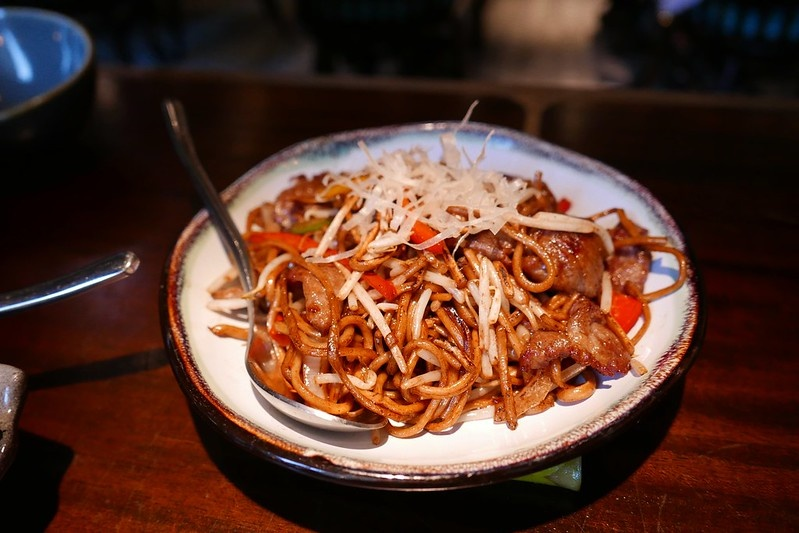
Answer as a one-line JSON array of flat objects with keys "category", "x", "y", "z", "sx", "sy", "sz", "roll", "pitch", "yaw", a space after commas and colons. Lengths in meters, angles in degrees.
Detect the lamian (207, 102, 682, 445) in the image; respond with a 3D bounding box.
[{"category": "lamian", "x": 0.246, "y": 0.194, "z": 3.895, "sx": 2.439, "sy": 0.759, "sz": 1.849, "roll": 1, "pitch": 58, "yaw": 6}]
